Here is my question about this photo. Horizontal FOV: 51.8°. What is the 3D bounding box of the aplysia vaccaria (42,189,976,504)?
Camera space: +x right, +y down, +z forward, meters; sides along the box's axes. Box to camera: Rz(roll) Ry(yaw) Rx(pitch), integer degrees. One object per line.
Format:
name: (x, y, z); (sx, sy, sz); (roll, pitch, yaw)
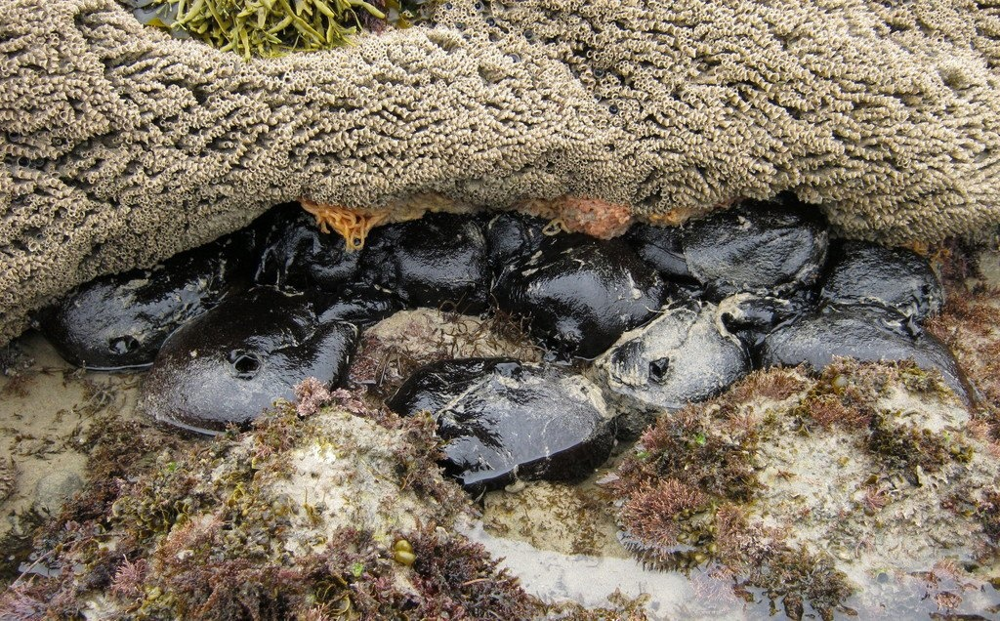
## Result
aplysia vaccaria: (-0.001, 0.576, 11.146); (5.613, 3.495, 2.936); (6, 72, 1)
